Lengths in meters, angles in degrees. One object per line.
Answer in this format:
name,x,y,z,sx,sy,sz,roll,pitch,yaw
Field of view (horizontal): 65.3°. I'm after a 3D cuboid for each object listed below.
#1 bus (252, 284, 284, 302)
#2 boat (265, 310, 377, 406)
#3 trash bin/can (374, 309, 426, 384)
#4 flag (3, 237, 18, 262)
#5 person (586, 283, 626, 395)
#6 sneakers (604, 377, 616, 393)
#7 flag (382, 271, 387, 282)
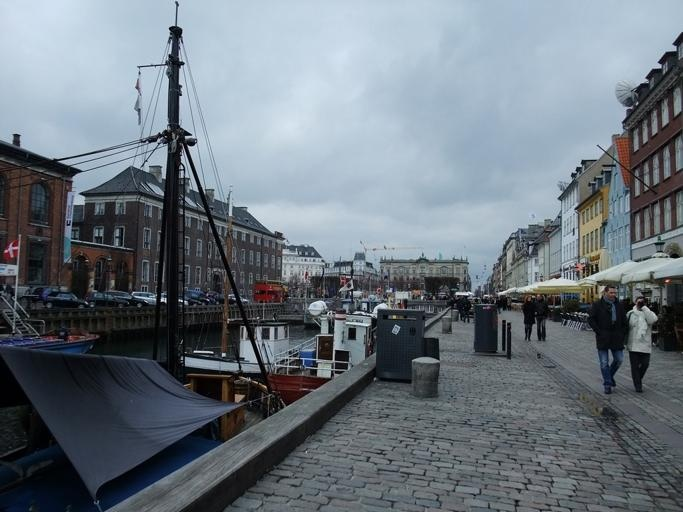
bus,-9.632,4.752,70.419,1.796,2.642,5.063,-2,-8,11
boat,-0.610,3.425,20.005,2.052,1.854,4.830,0,4,17
trash bin/can,1.360,2.274,12.248,1.229,1.825,1.029,2,-46,4
flag,-21.300,-0.530,34.204,1.586,1.625,0.220,-1,3,36
person,5.646,1.725,11.251,0.673,2.231,0.772,-5,-5,33
sneakers,5.673,2.709,11.298,0.172,0.253,0.564,1,3,18
flag,15.598,6.873,193.586,2.051,4.242,2.142,1,-5,-14
